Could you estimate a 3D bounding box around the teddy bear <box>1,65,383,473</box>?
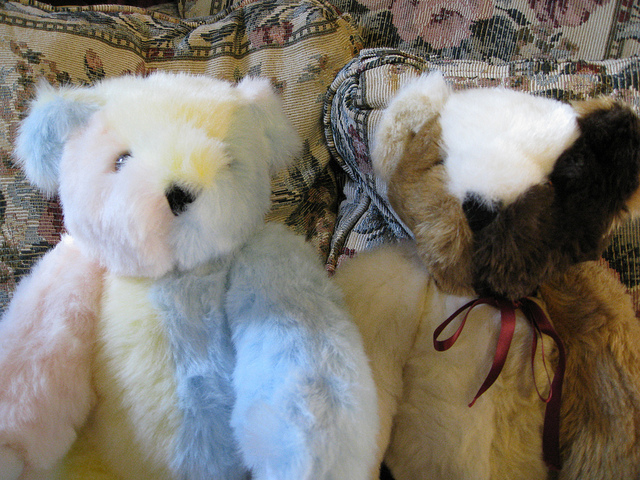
[{"bbox_3d":[-0.204,0.058,1.222,0.490,0.531,0.300,-8,6,-12],"label":"teddy bear"}]
